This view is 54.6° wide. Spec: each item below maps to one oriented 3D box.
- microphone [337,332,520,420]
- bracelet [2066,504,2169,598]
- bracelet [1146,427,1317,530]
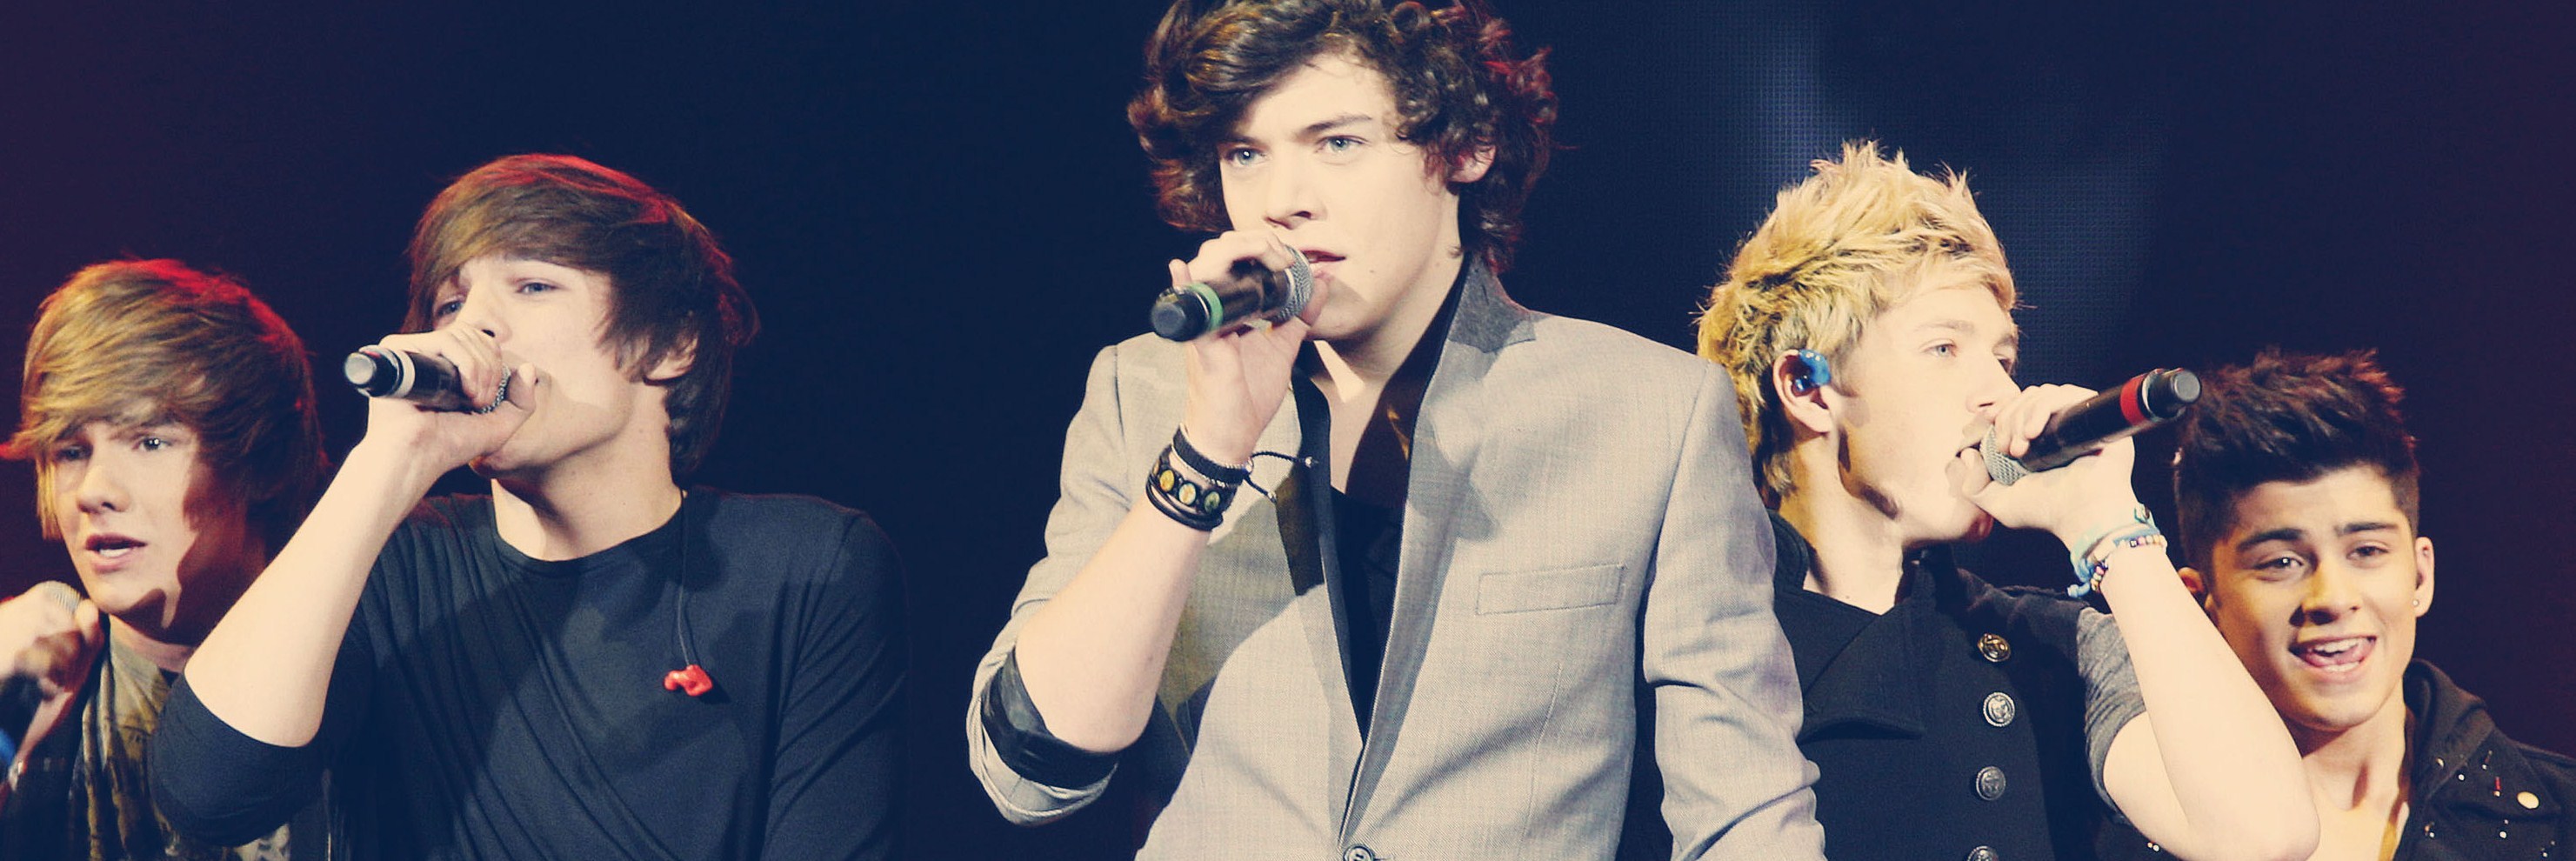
[{"bbox_3d":[-3.302,-0.197,9.526,0.617,0.239,0.290,6,-10,-26],"label":"microphone"},{"bbox_3d":[3.107,0.453,9.522,0.450,0.162,0.299,-19,-8,-13],"label":"bracelet"},{"bbox_3d":[-0.211,0.169,9.256,0.615,0.358,0.249,-12,-48,-23],"label":"bracelet"}]
